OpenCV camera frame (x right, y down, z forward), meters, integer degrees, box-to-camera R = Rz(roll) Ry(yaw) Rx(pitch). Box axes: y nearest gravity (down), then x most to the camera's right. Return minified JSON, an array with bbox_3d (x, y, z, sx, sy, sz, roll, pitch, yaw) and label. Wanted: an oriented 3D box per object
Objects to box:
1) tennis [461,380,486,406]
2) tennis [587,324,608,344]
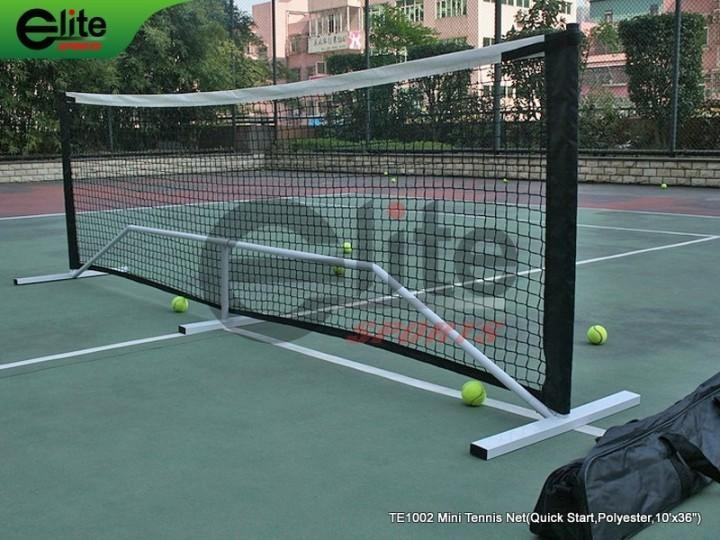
[{"bbox_3d":[0.738,0.792,4.052,0.140,0.149,0.146,3,26,28],"label":"tennis"},{"bbox_3d":[1.932,0.532,5.042,0.144,0.153,0.149,1,-16,9],"label":"tennis"}]
